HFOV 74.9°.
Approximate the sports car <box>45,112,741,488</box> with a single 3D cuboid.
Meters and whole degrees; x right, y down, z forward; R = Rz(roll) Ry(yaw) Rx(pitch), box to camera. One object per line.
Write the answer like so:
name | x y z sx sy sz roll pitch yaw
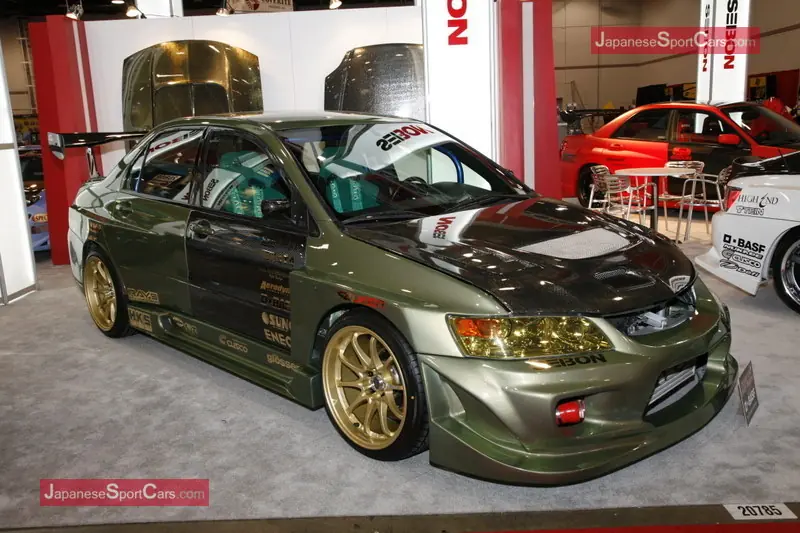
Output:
sports car | -0.440 -0.101 3.601 4.304 1.153 2.203 12 20 36
